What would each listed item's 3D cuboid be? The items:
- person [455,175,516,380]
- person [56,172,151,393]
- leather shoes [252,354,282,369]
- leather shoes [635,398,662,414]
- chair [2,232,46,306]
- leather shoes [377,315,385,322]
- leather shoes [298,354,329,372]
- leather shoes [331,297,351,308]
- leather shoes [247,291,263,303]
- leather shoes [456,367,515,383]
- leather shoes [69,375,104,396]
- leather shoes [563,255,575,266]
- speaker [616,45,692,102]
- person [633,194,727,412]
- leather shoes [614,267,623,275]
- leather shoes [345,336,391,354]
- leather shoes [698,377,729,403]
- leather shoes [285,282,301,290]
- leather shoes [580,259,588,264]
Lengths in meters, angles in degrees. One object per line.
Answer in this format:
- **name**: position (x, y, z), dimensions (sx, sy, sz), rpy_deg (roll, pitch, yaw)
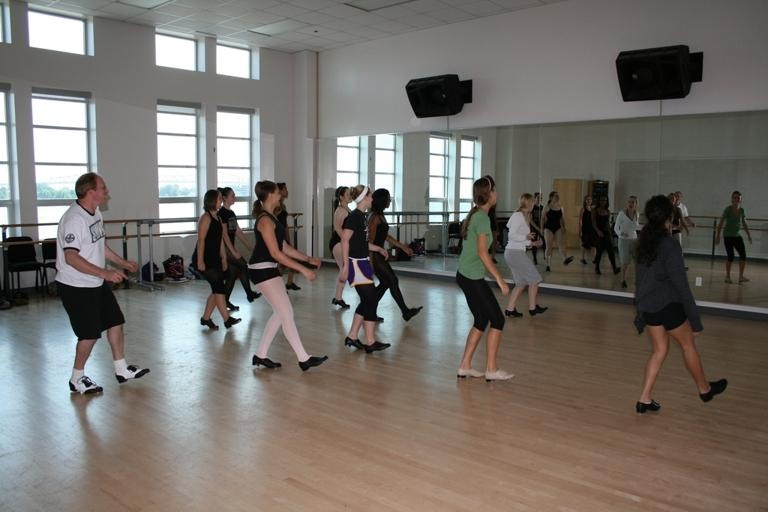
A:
- **person**: position (1.051, 0.239, 5.289), dimensions (0.613, 2.025, 0.667), rpy_deg (0, 3, -13)
- **person**: position (-2.819, 0.279, 5.038), dimensions (0.687, 2.172, 0.847), rpy_deg (-7, 10, -33)
- **leather shoes**: position (-1.339, 1.176, 5.791), dimensions (0.284, 0.133, 0.155), rpy_deg (1, 1, -12)
- **leather shoes**: position (2.471, 1.372, 4.773), dimensions (0.209, 0.094, 0.112), rpy_deg (-8, 10, -27)
- **chair**: position (-6.340, 0.180, 9.012), dimensions (0.576, 1.065, 1.217), rpy_deg (-7, 10, -33)
- **leather shoes**: position (-0.059, 0.916, 7.551), dimensions (0.067, 0.053, 0.131), rpy_deg (7, 6, 37)
- **leather shoes**: position (-0.790, 1.166, 5.686), dimensions (0.314, 0.130, 0.144), rpy_deg (-24, 6, -3)
- **leather shoes**: position (-0.712, 0.754, 8.391), dimensions (0.268, 0.119, 0.146), rpy_deg (16, 2, -17)
- **leather shoes**: position (-2.210, 0.700, 8.645), dimensions (0.196, 0.099, 0.286), rpy_deg (-10, -5, 22)
- **leather shoes**: position (1.088, 1.256, 5.438), dimensions (0.568, 0.149, 0.211), rpy_deg (-2, -2, 8)
- **leather shoes**: position (-3.026, 1.300, 5.189), dimensions (0.293, 0.143, 0.164), rpy_deg (2, 0, 2)
- **leather shoes**: position (3.225, 0.068, 9.004), dimensions (0.220, 0.091, 0.079), rpy_deg (-37, 2, 39)
- **speaker**: position (4.216, -2.884, 8.069), dimensions (1.027, 0.775, 0.387), rpy_deg (2, 9, 25)
- **person**: position (2.565, 0.466, 4.558), dimensions (0.620, 2.001, 0.517), rpy_deg (3, 9, 28)
- **leather shoes**: position (3.956, 0.245, 8.674), dimensions (0.100, 0.123, 0.072), rpy_deg (3, 7, 7)
- **leather shoes**: position (-0.206, 1.044, 6.341), dimensions (0.614, 0.279, 0.213), rpy_deg (-8, -2, 7)
- **leather shoes**: position (3.127, 1.278, 4.864), dimensions (0.347, 0.145, 0.127), rpy_deg (-33, 29, -24)
- **leather shoes**: position (-1.745, 0.572, 9.710), dimensions (0.325, 0.139, 0.114), rpy_deg (0, 3, -23)
- **leather shoes**: position (3.479, 0.084, 8.902), dimensions (0.087, 0.073, 0.160), rpy_deg (2, -1, -7)
